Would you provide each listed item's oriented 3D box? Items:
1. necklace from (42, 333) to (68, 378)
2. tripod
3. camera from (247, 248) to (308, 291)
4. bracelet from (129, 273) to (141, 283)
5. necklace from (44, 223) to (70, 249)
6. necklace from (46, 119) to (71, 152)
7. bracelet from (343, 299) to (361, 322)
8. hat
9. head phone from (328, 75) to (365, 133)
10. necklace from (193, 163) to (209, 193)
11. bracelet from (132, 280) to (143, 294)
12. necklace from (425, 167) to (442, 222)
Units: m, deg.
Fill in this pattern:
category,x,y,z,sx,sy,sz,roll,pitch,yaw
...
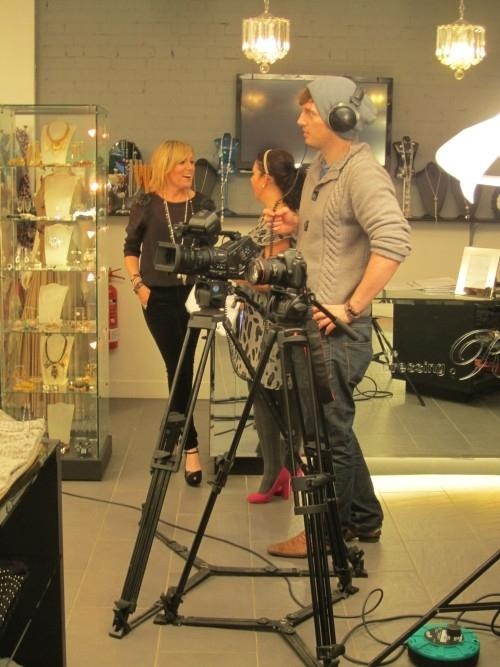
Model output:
category,x,y,z,sx,sy,sz,roll,pitch,yaw
necklace,-1.009,0.121,3.117,0.148,0.257,0.020,1,-5,2
tripod,-0.090,0.417,2.027,0.899,1.162,0.884,1,5,9
camera,0.064,-0.149,1.451,0.117,0.075,0.106,-2,1,-23
bracelet,-0.596,-0.287,3.106,0.052,0.039,0.041,5,18,22
necklace,-0.973,-0.498,3.000,0.115,0.110,0.030,3,11,3
necklace,-0.932,-0.978,2.918,0.123,0.133,0.071,4,41,-3
bracelet,0.335,-0.069,1.989,0.049,0.073,0.069,2,0,6
hat,0.362,-0.792,2.058,0.288,0.148,0.236,20,40,24
head phone,0.342,-0.790,2.052,0.090,0.176,0.200,24,33,-4
necklace,-0.364,-1.161,4.419,0.138,0.244,0.055,11,15,3
bracelet,-0.579,-0.239,3.081,0.028,0.065,0.052,-1,3,-45
necklace,1.398,-1.064,4.519,0.116,0.367,0.070,0,8,11
